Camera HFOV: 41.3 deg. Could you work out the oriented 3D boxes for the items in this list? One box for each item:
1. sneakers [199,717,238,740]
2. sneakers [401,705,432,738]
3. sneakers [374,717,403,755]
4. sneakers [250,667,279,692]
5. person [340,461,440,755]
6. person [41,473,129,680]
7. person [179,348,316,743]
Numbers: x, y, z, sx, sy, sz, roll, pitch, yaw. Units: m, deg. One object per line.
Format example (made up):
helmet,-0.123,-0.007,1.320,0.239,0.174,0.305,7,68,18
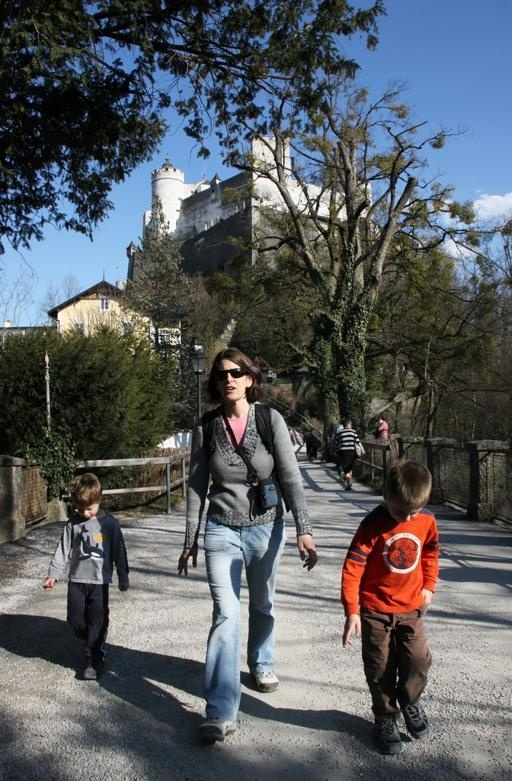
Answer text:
sneakers,-0.170,1.395,2.765,0.174,0.068,0.082,-8,11,16
sneakers,0.664,1.374,2.804,0.063,0.078,0.177,-28,12,7
sneakers,0.530,1.368,2.695,0.055,0.062,0.151,1,10,4
sneakers,0.053,1.428,3.332,0.062,0.073,0.166,-1,-26,-16
person,0.559,0.861,2.811,0.399,1.131,0.310,1,-1,8
person,-0.912,0.990,3.740,0.414,1.025,0.397,0,-2,38
person,-0.082,0.634,3.218,0.643,1.688,0.769,2,-2,-32
